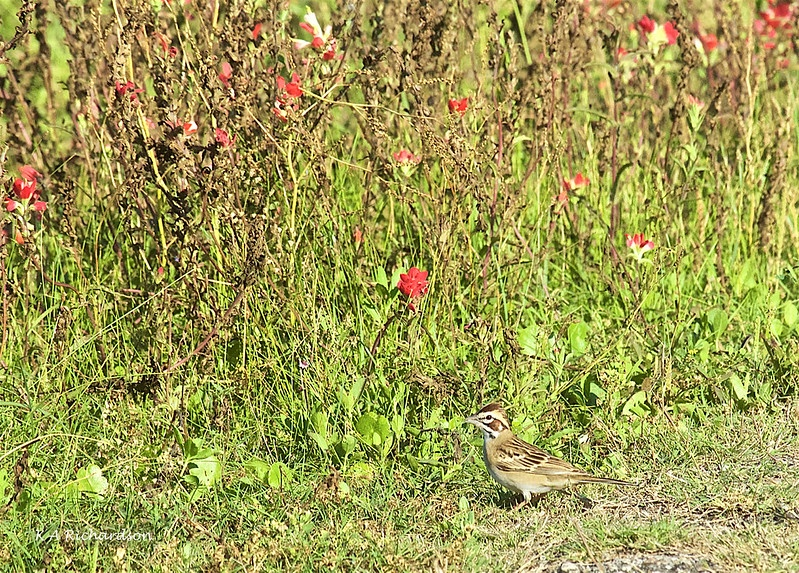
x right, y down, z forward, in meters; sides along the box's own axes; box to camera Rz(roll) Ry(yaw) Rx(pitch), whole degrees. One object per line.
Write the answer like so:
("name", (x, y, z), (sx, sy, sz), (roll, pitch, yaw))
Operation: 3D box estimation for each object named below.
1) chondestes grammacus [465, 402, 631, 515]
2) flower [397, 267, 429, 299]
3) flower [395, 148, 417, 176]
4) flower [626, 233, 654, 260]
("chondestes grammacus", (0.724, 0.863, 4.637), (0.694, 0.591, 0.273), (-4, -19, 13))
("flower", (0.066, -0.019, 5.071), (0.136, 0.114, 0.149), (-21, -22, 39))
("flower", (0.040, -0.725, 5.413), (0.128, 0.162, 0.136), (10, 32, 21))
("flower", (1.370, -0.248, 5.399), (0.132, 0.172, 0.149), (0, -15, 39))
